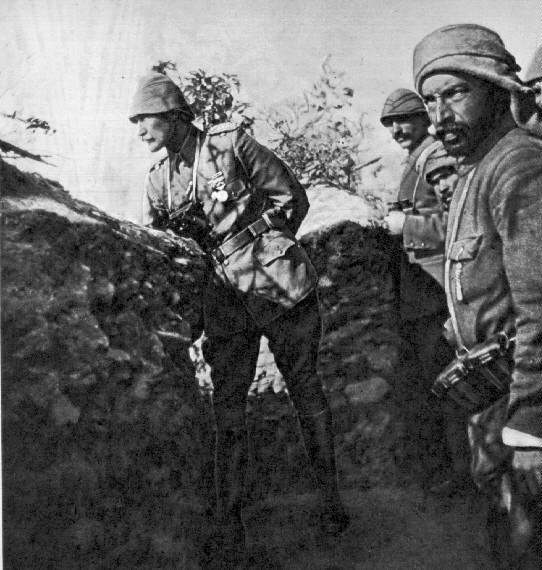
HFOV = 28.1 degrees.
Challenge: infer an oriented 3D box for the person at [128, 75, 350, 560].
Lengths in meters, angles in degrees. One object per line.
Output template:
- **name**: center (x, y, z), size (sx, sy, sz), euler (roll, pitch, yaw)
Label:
- **person**: center (-0.150, 0.120, 5.738), size (0.864, 2.376, 0.578), euler (-6, -16, 2)

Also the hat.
- **hat**: center (0.959, -1.081, 5.201), size (0.404, 0.269, 0.325), euler (-5, -6, -9)
